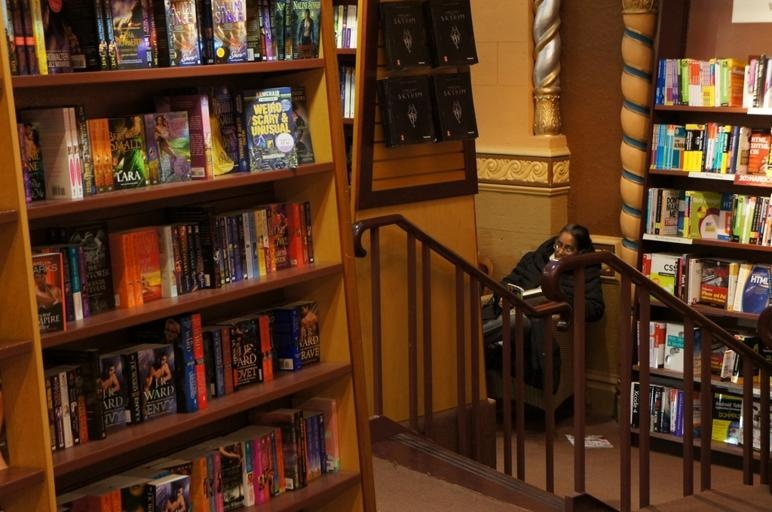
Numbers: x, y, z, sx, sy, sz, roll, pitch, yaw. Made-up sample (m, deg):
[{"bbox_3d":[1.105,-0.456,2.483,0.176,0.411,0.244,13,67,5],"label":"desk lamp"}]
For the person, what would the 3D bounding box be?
[{"bbox_3d":[1.167,0.561,5.283,1.058,1.411,1.088,0,15,5],"label":"person"}]
